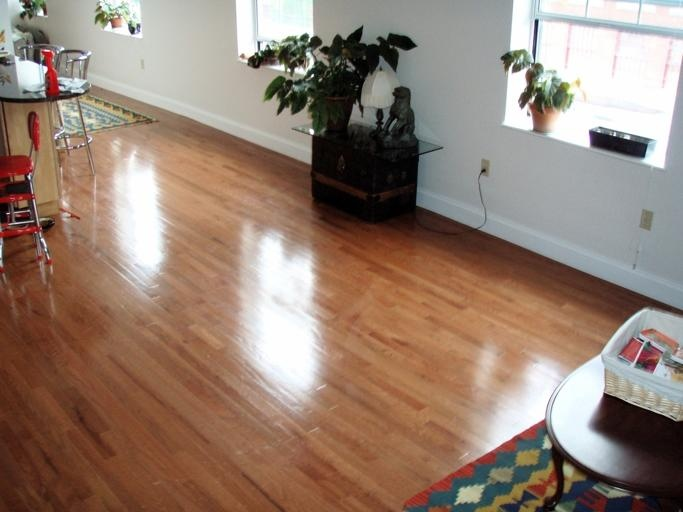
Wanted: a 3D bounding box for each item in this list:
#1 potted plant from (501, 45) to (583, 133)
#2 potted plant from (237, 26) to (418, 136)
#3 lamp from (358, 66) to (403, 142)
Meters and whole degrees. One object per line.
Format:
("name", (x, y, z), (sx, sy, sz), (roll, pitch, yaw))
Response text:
("potted plant", (1.452, -1.247, 3.895), (0.640, 0.553, 0.713), (19, 29, 32))
("potted plant", (-0.160, -1.657, 4.659), (1.139, 0.712, 1.216), (16, 30, 30))
("lamp", (0.319, -1.327, 4.475), (0.312, 0.536, 0.519), (3, 26, 2))
